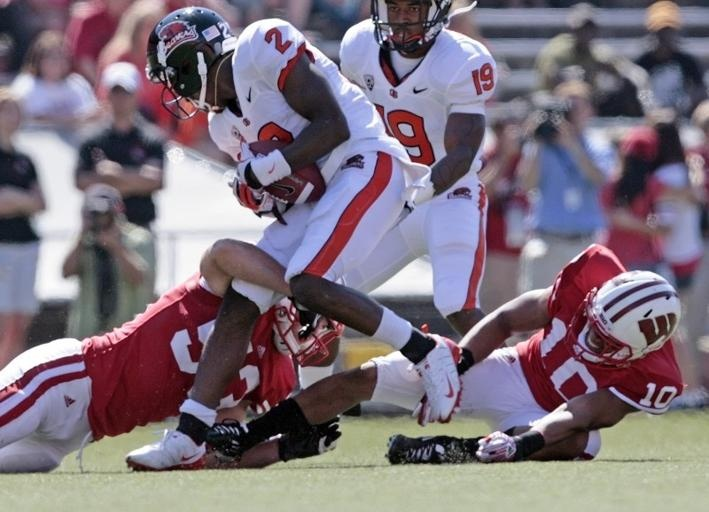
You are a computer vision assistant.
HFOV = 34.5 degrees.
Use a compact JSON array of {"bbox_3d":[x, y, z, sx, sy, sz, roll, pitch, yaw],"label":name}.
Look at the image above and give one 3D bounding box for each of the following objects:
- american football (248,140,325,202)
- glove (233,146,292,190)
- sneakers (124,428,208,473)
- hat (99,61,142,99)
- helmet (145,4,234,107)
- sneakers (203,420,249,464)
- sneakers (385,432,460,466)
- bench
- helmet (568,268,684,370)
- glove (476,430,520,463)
[{"bbox_3d":[-0.291,-0.343,4.783,0.304,0.225,0.119,25,52,6],"label":"american football"},{"bbox_3d":[-0.370,-0.363,4.736,0.216,0.126,0.084,-21,-7,8],"label":"glove"},{"bbox_3d":[-0.744,0.783,4.668,0.370,0.158,0.133,3,2,-13],"label":"sneakers"},{"bbox_3d":[-1.411,-1.089,6.954,0.263,0.230,0.257,-6,10,-18],"label":"hat"},{"bbox_3d":[-0.691,-0.865,5.008,0.433,0.426,0.338,2,0,9],"label":"helmet"},{"bbox_3d":[-0.512,0.740,4.630,0.117,0.088,0.268,-25,-4,-5],"label":"sneakers"},{"bbox_3d":[0.268,0.786,4.711,0.305,0.103,0.131,-5,-12,7],"label":"sneakers"},{"bbox_3d":[1.686,-1.572,8.621,1.249,0.285,1.228,-11,40,-4],"label":"bench"},{"bbox_3d":[1.132,0.231,4.807,0.451,0.337,0.310,-20,60,-7],"label":"helmet"},{"bbox_3d":[0.566,0.766,4.608,0.147,0.121,0.107,17,-2,13],"label":"glove"}]
